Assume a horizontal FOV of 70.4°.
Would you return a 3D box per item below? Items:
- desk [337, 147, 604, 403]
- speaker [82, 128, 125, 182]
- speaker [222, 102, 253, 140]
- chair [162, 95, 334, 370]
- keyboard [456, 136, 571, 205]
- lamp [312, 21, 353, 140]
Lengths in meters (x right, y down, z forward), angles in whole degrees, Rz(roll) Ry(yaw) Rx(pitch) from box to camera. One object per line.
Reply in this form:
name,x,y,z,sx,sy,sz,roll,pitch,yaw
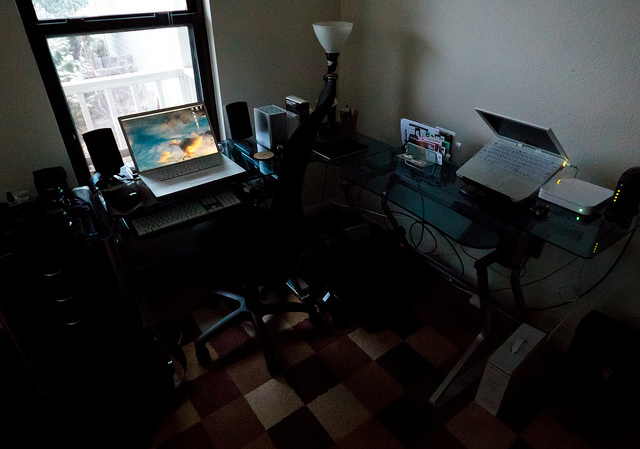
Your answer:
desk,0.899,0.228,3.096,0.949,1.085,1.459,-20,40,-26
speaker,-1.403,-0.438,2.922,0.193,0.336,0.190,-33,41,-24
speaker,-0.609,-0.767,3.336,0.216,0.295,0.094,-24,34,-27
chair,-0.519,0.072,3.103,1.039,1.696,0.973,19,35,10
keyboard,1.156,-0.325,2.743,0.451,0.070,0.509,-44,50,-12
lamp,0.087,-1.029,3.312,0.255,0.788,0.484,-3,35,-5
